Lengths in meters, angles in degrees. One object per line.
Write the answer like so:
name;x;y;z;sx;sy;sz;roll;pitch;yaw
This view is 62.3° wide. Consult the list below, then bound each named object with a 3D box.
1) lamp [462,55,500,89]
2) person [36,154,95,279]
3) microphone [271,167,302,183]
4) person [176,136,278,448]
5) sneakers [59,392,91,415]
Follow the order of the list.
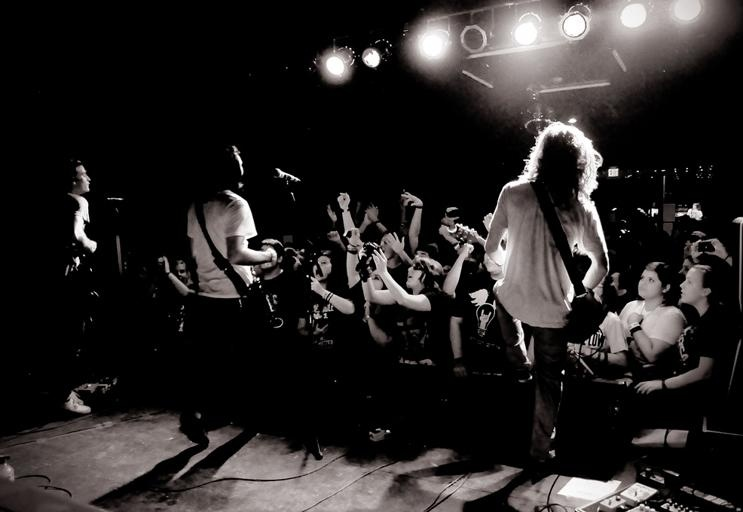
lamp;1.116;-1.924;6.503;0.335;0.229;0.480;-5;3;13
person;-3.060;-0.363;6.163;0.365;1.040;0.658;-9;5;-37
microphone;-0.904;-0.860;6.414;0.134;0.134;0.350;-30;-21;26
person;-1.281;0.337;5.248;0.901;1.924;0.329;-6;4;4
sneakers;-2.893;1.412;5.940;0.383;0.151;0.121;6;8;32
